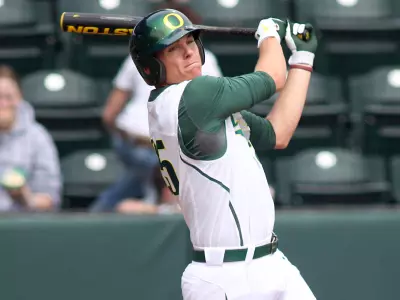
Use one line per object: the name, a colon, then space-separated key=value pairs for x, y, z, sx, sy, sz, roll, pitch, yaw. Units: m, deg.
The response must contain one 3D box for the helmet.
helmet: x=-0.218 y=-0.571 z=4.491 sx=0.396 sy=0.336 sz=0.355 roll=-4 pitch=11 yaw=45
